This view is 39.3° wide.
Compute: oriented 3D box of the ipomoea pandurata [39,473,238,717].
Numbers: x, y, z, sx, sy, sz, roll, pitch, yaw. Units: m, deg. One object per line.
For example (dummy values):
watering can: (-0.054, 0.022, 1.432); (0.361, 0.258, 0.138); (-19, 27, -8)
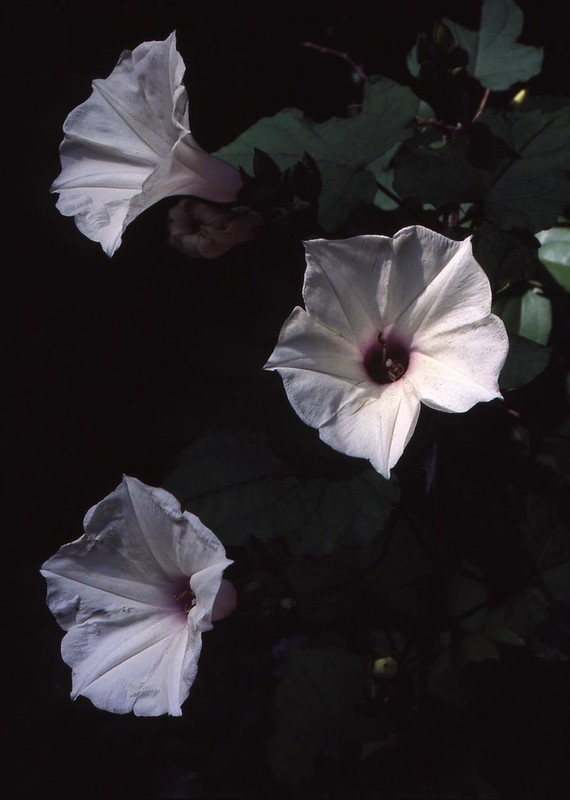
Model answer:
ipomoea pandurata: (-0.196, 0.264, 1.022); (0.210, 0.272, 0.242); (-4, 29, -18)

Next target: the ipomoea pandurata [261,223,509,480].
ipomoea pandurata: (0.122, -0.061, 0.895); (0.255, 0.238, 0.178); (25, 33, 34)

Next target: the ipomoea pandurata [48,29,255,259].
ipomoea pandurata: (-0.184, -0.335, 1.058); (0.216, 0.275, 0.234); (-9, 31, -26)
